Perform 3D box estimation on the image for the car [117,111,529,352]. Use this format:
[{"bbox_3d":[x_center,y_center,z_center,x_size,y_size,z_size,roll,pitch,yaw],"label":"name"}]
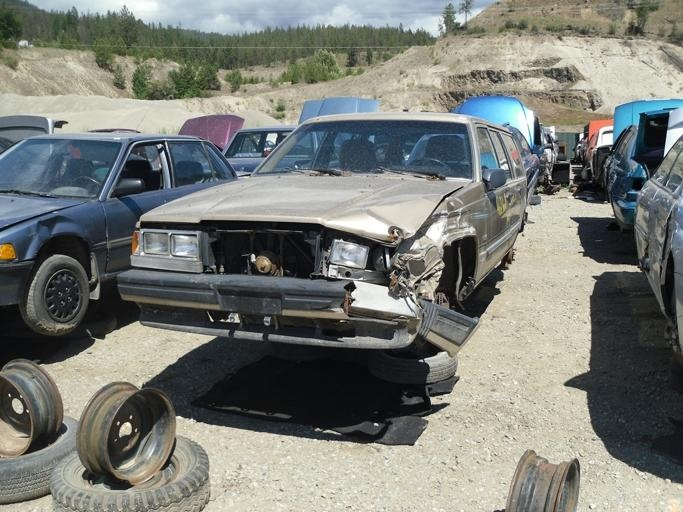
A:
[{"bbox_3d":[0.005,-0.314,4.562,2.609,1.789,2.675,8,18,21],"label":"car"}]
